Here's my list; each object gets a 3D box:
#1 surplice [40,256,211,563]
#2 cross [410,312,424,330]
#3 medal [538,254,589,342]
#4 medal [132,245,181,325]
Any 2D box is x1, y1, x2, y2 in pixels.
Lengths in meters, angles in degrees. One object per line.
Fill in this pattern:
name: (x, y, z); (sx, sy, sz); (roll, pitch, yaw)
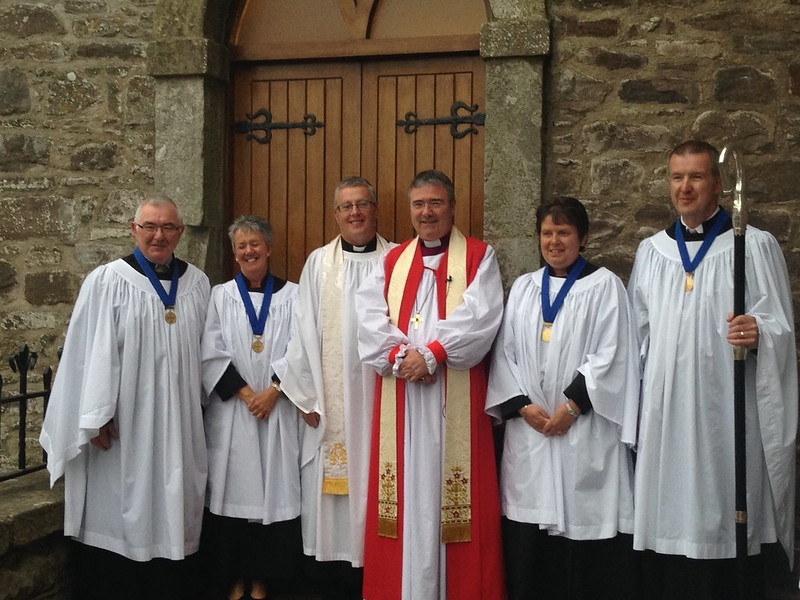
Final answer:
surplice: (-1.447, 0.598, 5.613); (0.873, 1.625, 0.376); (-1, 1, -13)
cross: (0.091, 0.120, 5.562); (0.092, 0.122, 0.016); (0, -34, 8)
medal: (0.834, -0.004, 5.499); (0.221, 0.430, 0.096); (-2, -33, 28)
medal: (-1.334, -0.068, 5.735); (0.276, 0.387, 0.094); (8, -31, -46)
